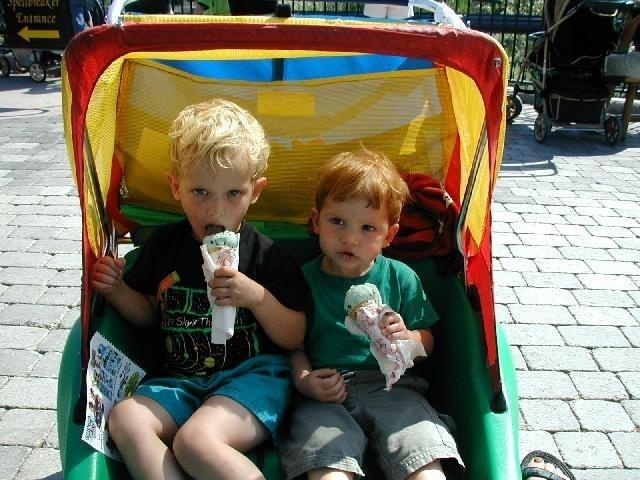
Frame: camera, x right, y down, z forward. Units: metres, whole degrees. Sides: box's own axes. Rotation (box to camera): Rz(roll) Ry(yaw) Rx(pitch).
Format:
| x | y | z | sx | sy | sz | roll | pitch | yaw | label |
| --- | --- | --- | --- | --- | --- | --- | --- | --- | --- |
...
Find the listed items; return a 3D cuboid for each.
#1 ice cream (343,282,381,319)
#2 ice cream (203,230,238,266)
| x | y | z | sx | sy | sz | roll | pitch | yaw | label |
| --- | --- | --- | --- | --- | --- | --- | --- | --- | --- |
| 0.137 | 0.192 | 1.877 | 0.116 | 0.095 | 0.125 | 0 | 22 | -4 | ice cream |
| -0.301 | 0.029 | 1.785 | 0.097 | 0.070 | 0.108 | -3 | 27 | 1 | ice cream |
